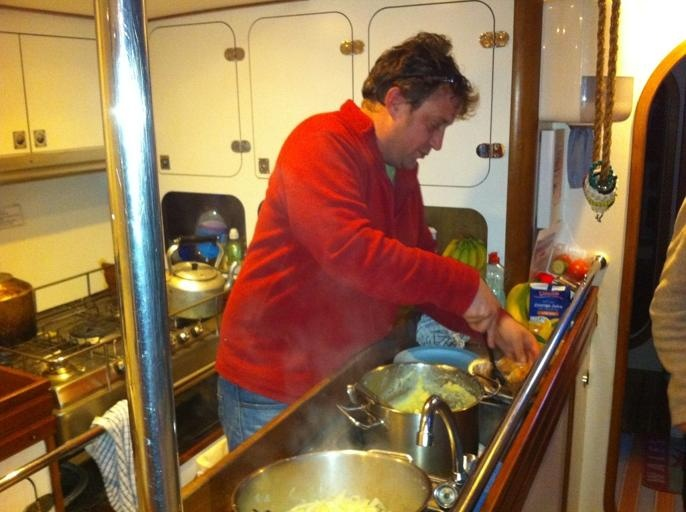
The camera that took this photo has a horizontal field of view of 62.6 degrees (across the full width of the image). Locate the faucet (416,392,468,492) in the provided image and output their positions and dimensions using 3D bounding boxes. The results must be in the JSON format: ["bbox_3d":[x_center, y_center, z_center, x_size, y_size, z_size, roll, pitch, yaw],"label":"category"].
[{"bbox_3d":[0.176,0.328,1.010,0.093,0.196,0.186,-1,13,12],"label":"faucet"}]

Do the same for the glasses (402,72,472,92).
[{"bbox_3d":[0.243,-0.438,1.419,0.192,0.039,0.040,-8,13,-17],"label":"glasses"}]

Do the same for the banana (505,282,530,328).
[{"bbox_3d":[0.602,0.166,1.925,0.040,0.130,0.093,16,-15,-38],"label":"banana"}]

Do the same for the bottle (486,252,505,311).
[{"bbox_3d":[0.590,0.098,2.181,0.093,0.212,0.092,-4,8,1],"label":"bottle"}]

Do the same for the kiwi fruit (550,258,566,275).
[{"bbox_3d":[0.856,0.037,2.225,0.042,0.052,0.062,-1,13,11],"label":"kiwi fruit"}]

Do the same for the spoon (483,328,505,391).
[{"bbox_3d":[0.417,0.259,1.568,0.036,0.048,0.166,-25,-2,19],"label":"spoon"}]

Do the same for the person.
[{"bbox_3d":[0.097,-0.218,2.081,1.043,1.908,0.785,8,13,16],"label":"person"}]

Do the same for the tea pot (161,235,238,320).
[{"bbox_3d":[-0.547,0.081,2.184,0.261,0.309,0.260,6,16,-2],"label":"tea pot"}]

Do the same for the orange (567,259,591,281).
[{"bbox_3d":[0.915,0.048,2.177,0.083,0.063,0.148,3,14,25],"label":"orange"}]
